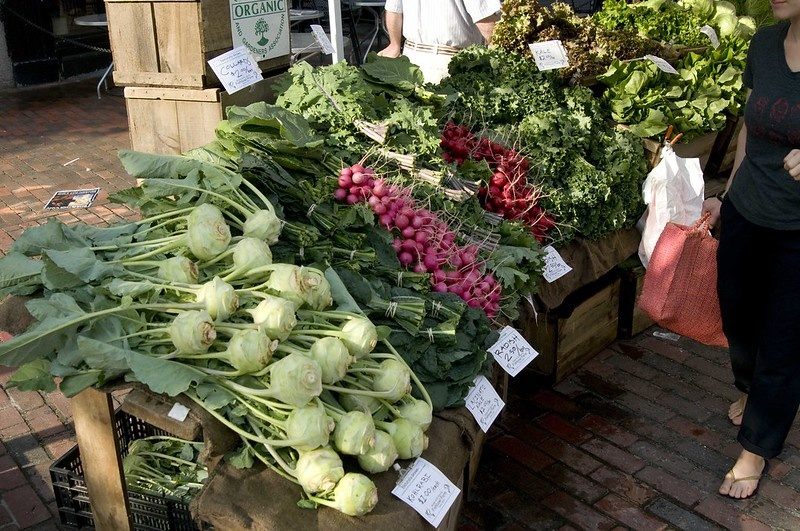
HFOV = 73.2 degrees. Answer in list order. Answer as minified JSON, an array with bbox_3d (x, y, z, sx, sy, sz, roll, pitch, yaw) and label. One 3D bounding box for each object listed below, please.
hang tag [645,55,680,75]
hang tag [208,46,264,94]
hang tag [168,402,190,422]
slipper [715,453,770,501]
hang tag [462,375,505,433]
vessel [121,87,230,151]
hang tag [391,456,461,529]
[{"bbox_3d":[2.160,-1.648,4.437,0.275,0.161,0.229,-8,26,-8],"label":"hang tag"},{"bbox_3d":[-0.894,-1.084,2.995,0.149,0.240,0.342,13,30,30],"label":"hang tag"},{"bbox_3d":[-0.812,0.537,1.984,0.067,0.018,0.058,19,72,21],"label":"hang tag"},{"bbox_3d":[2.190,1.259,3.405,0.460,0.182,0.154,-24,32,-31],"label":"slipper"},{"bbox_3d":[0.402,0.640,2.510,0.100,0.283,0.300,10,29,26],"label":"hang tag"},{"bbox_3d":[-1.238,-0.822,3.149,0.521,0.348,0.499,9,18,29],"label":"vessel"},{"bbox_3d":[0.107,0.861,2.056,0.256,0.056,0.239,39,53,12],"label":"hang tag"}]
